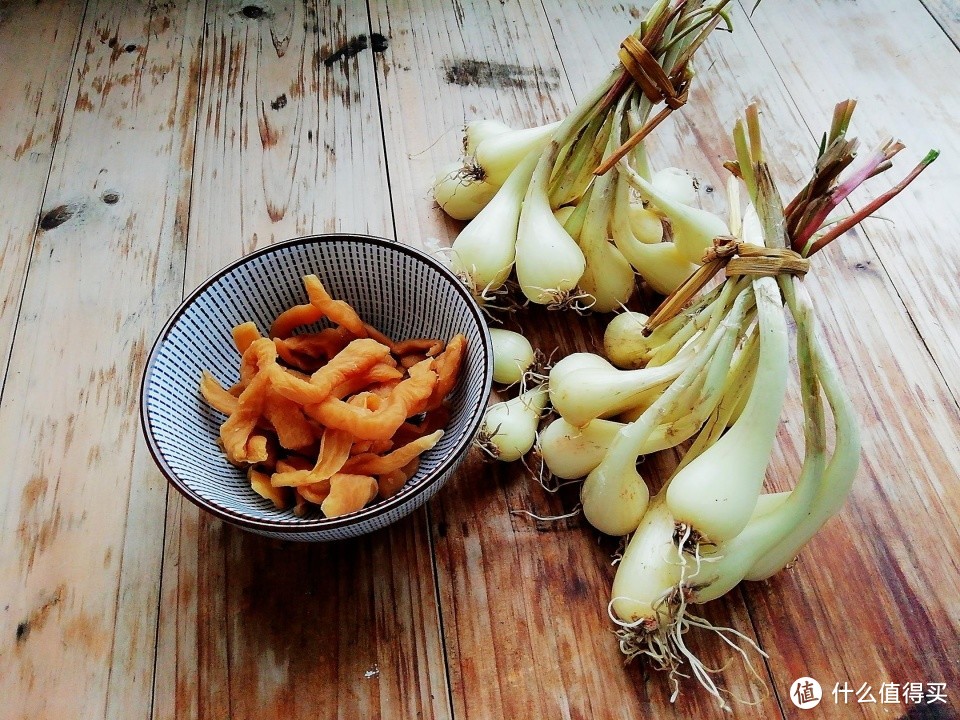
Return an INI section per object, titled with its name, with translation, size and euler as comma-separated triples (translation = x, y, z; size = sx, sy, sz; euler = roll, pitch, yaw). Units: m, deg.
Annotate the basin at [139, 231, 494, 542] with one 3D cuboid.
[basin]
translation = -0.268, -0.006, 1.035
size = 0.399, 0.173, 0.447
euler = -7, 61, -6
